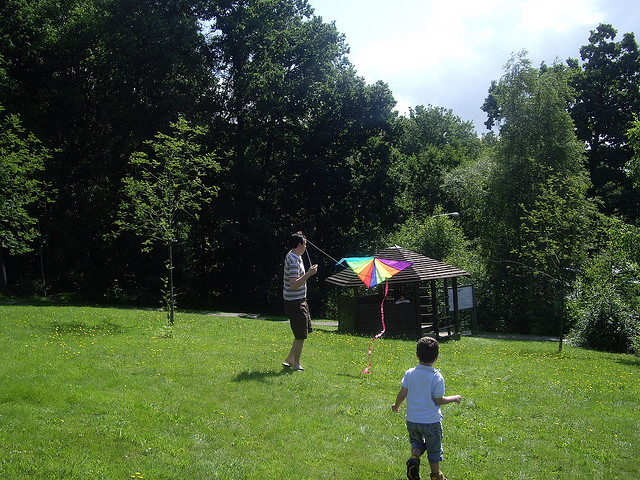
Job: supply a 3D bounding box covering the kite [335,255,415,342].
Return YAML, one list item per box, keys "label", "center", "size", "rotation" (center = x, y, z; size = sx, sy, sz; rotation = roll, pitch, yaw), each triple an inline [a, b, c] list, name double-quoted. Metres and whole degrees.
- label: "kite"
  center: [2.280, 2.308, 23.654]
  size: [2.658, 3.732, 3.461]
  rotation: [7, 24, 27]

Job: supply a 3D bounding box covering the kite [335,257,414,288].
- label: "kite"
  center: [2.087, 1.332, 22.525]
  size: [2.097, 1.362, 1.025]
  rotation: [4, 13, 1]

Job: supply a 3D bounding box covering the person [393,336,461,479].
- label: "person"
  center: [2.593, 4.255, 14.249]
  size: [1.382, 3.523, 1.165]
  rotation: [-3, 14, -26]

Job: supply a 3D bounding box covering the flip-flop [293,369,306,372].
- label: "flip-flop"
  center: [-0.688, 4.235, 18.790]
  size: [0.413, 0.047, 0.121]
  rotation: [0, 14, -19]

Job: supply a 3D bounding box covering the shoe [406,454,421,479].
- label: "shoe"
  center: [2.258, 5.413, 13.841]
  size: [0.189, 0.628, 0.406]
  rotation: [-3, 5, 17]
